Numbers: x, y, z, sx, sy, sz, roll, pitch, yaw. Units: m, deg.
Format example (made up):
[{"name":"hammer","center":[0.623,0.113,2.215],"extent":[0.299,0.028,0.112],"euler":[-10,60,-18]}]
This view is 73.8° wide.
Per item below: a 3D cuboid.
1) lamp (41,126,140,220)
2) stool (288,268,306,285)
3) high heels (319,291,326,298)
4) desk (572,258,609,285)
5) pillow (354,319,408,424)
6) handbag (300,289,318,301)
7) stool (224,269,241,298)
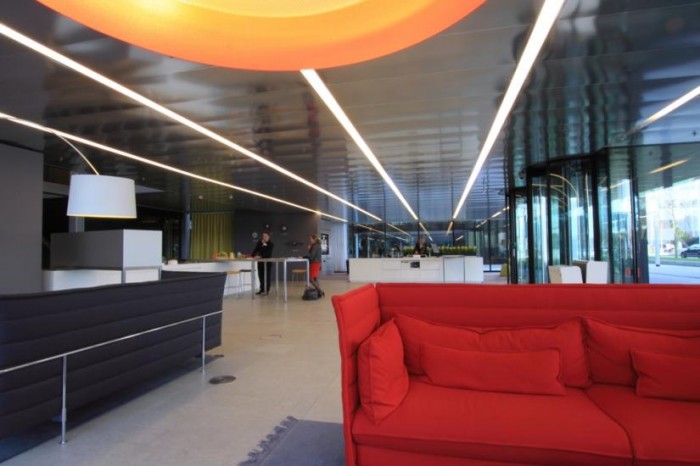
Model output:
[{"name":"lamp","center":[-3.356,-0.582,5.587],"extent":[1.375,1.066,0.754],"euler":[-1,-4,18]},{"name":"stool","center":[-1.826,1.512,16.194],"extent":[0.691,0.651,0.635],"euler":[-1,-11,-2]},{"name":"high heels","center":[-0.682,1.492,11.302],"extent":[0.111,0.131,0.345],"euler":[-2,-16,9]},{"name":"desk","center":[3.592,0.582,6.981],"extent":[0.242,0.400,0.442],"euler":[1,-7,10]},{"name":"pillow","center":[0.234,1.139,3.734],"extent":[0.339,0.577,0.830],"euler":[-2,-1,20]},{"name":"handbag","center":[-0.910,1.405,10.912],"extent":[0.281,0.257,0.449],"euler":[-2,5,19]},{"name":"stool","center":[-2.978,1.238,11.796],"extent":[0.440,0.725,1.038],"euler":[-5,5,-15]}]
